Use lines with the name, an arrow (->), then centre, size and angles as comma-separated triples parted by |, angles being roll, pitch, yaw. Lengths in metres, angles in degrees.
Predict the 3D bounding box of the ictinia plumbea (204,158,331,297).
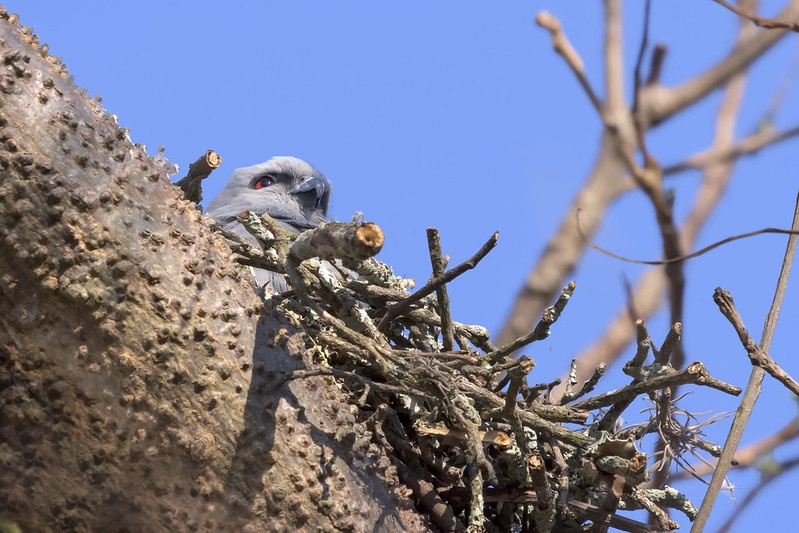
ictinia plumbea -> -0.403, -0.097, 5.486 | 0.360, 0.260, 0.272 | -38, -44, 24
